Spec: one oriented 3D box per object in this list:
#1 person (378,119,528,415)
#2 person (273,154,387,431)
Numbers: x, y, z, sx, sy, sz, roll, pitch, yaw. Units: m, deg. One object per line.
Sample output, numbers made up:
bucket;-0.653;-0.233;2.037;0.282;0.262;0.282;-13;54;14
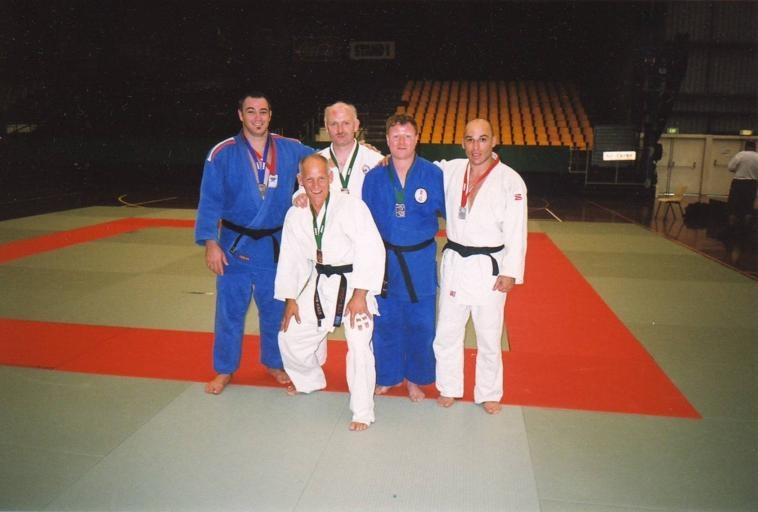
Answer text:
person;0.963;0.092;5.428;0.831;2.676;0.673;3;12;6
person;-0.469;0.305;5.305;1.055;2.407;0.766;2;12;1
